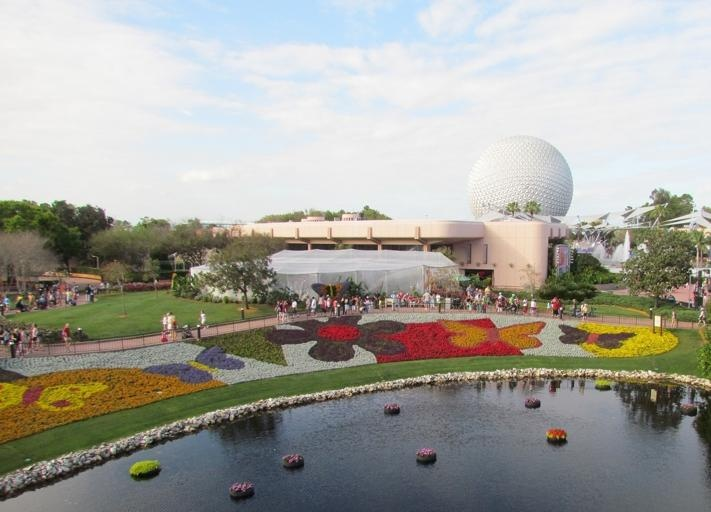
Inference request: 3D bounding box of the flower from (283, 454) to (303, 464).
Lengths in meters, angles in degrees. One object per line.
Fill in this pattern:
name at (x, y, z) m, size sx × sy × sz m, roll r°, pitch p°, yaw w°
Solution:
flower at (-3.999, 12.941, 40.731) m, size 1.287 × 0.422 × 0.822 m, roll -2°, pitch 2°, yaw -4°
